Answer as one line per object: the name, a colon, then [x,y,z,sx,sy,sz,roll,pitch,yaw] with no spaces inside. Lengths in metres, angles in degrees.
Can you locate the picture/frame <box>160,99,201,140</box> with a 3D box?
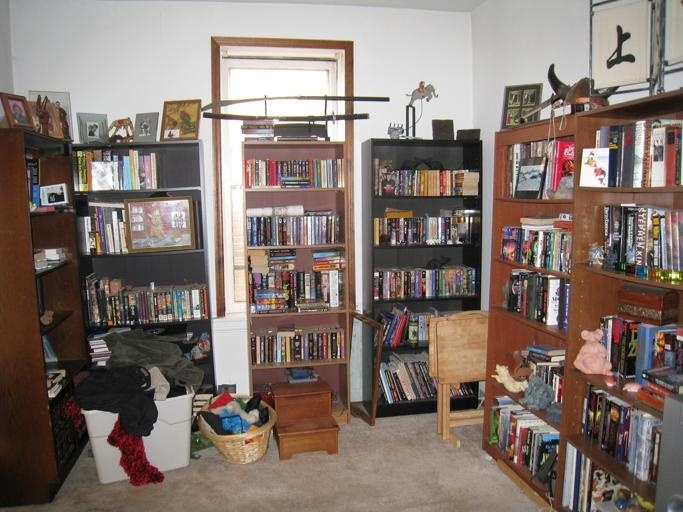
picture/frame: [-1.359,-1.153,4.731,0.346,0.391,0.050,2,-12,-2]

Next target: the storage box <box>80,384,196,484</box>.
storage box: [-1.576,1.245,4.289,0.926,0.719,0.581,-5,7,-35]

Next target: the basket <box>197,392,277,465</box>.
basket: [-0.789,1.340,4.308,0.456,0.230,0.447,1,16,10]

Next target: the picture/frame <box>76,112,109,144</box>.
picture/frame: [-2.073,-1.065,4.658,0.282,0.335,0.032,-3,0,-24]

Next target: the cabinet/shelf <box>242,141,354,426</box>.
cabinet/shelf: [-0.352,0.227,4.890,0.997,2.421,0.597,-3,7,0]

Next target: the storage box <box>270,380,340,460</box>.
storage box: [-0.286,1.308,4.455,0.502,0.433,0.508,-1,2,-13]

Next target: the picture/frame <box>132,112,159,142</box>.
picture/frame: [-1.659,-1.086,4.719,0.207,0.271,0.172,-3,7,-2]
